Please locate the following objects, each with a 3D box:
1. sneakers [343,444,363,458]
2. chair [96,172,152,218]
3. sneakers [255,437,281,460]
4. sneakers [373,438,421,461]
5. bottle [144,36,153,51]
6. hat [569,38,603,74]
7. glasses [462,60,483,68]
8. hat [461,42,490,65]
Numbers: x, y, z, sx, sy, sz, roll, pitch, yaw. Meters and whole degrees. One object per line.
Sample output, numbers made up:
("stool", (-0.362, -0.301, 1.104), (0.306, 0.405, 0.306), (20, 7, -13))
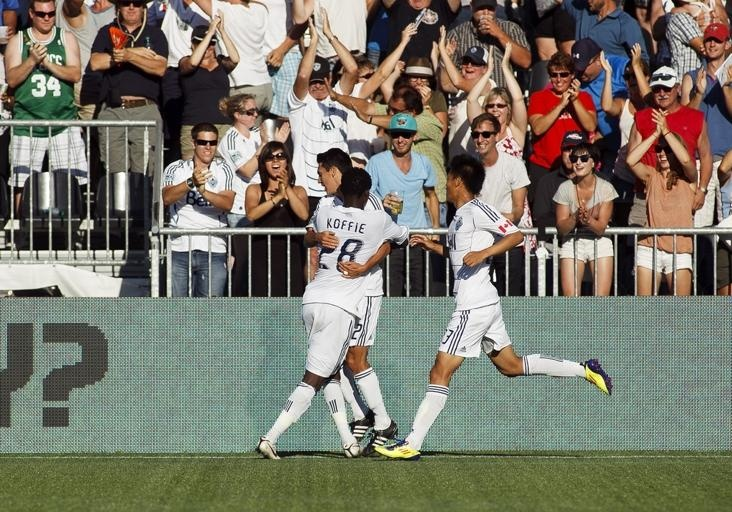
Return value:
("sneakers", (-0.137, 2.017, 17.937), (0.167, 0.170, 0.135), (-4, 7, 11))
("chair", (-2.757, -0.678, 19.224), (0.541, 0.542, 0.505), (-1, 4, -1))
("sneakers", (-1.020, 1.975, 17.738), (0.217, 0.208, 0.385), (2, 0, 2))
("sneakers", (0.322, 1.964, 17.584), (0.478, 0.254, 0.188), (8, -2, -4))
("bottle", (-2.625, -2.549, 20.568), (0.123, 0.132, 0.029), (-18, 5, -28))
("hat", (2.660, -2.486, 20.902), (0.495, 0.266, 0.325), (-43, 34, -25))
("glasses", (1.331, -2.305, 20.741), (0.098, 0.054, 0.164), (10, -7, 34))
("hat", (1.353, -2.429, 20.763), (0.194, 0.163, 0.276), (15, 3, 33))
